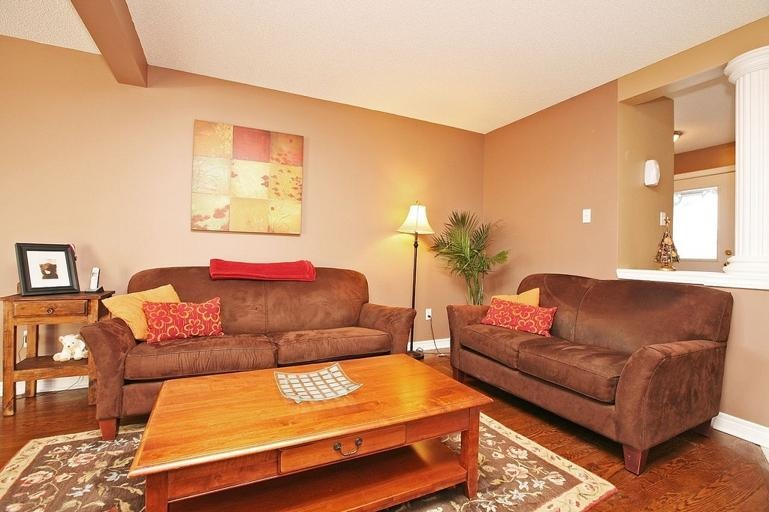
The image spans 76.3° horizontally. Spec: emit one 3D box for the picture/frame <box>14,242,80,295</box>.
[{"bbox_3d":[-3.088,0.123,4.447,0.523,0.557,0.061,-3,-16,-42],"label":"picture/frame"}]

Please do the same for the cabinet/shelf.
[{"bbox_3d":[-2.998,0.844,4.475,0.819,1.024,0.567,-3,4,-28],"label":"cabinet/shelf"}]
